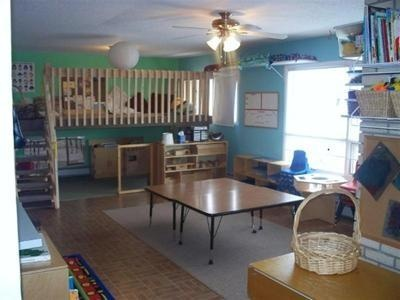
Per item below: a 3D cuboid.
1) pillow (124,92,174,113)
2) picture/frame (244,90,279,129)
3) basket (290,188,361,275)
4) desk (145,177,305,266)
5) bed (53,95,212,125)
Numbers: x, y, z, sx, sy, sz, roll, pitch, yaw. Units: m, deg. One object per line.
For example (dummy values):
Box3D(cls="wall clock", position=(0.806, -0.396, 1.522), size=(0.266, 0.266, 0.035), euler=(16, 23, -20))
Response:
Box3D(cls="pillow", position=(-1.367, -1.243, 8.435), size=(0.571, 0.454, 1.030), euler=(0, 3, -30))
Box3D(cls="picture/frame", position=(1.522, -0.993, 7.759), size=(0.021, 0.740, 0.994), euler=(-1, 6, -32))
Box3D(cls="basket", position=(0.845, 0.512, 2.154), size=(0.441, 0.541, 0.550), euler=(-1, 1, -13))
Box3D(cls="desk", position=(0.317, 1.064, 5.081), size=(1.688, 0.827, 1.926), euler=(-6, 11, -35))
Box3D(cls="bed", position=(-1.865, -1.120, 8.395), size=(3.641, 0.805, 3.021), euler=(-4, 10, -26))
